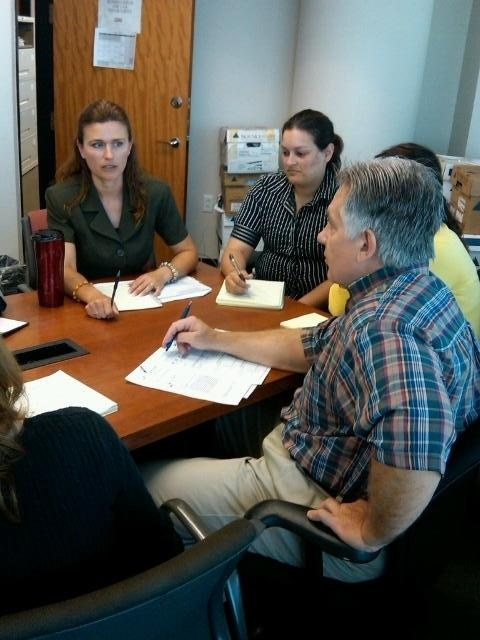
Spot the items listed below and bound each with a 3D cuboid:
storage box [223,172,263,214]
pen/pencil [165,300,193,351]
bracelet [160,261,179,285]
[{"bbox_3d":[0.033,-1.003,3.605,0.307,0.202,0.311,-10,25,-21],"label":"storage box"},{"bbox_3d":[-0.180,0.023,1.382,0.017,0.017,0.163,19,68,30],"label":"pen/pencil"},{"bbox_3d":[-0.287,-0.196,1.893,0.074,0.032,0.089,42,10,-40],"label":"bracelet"}]
